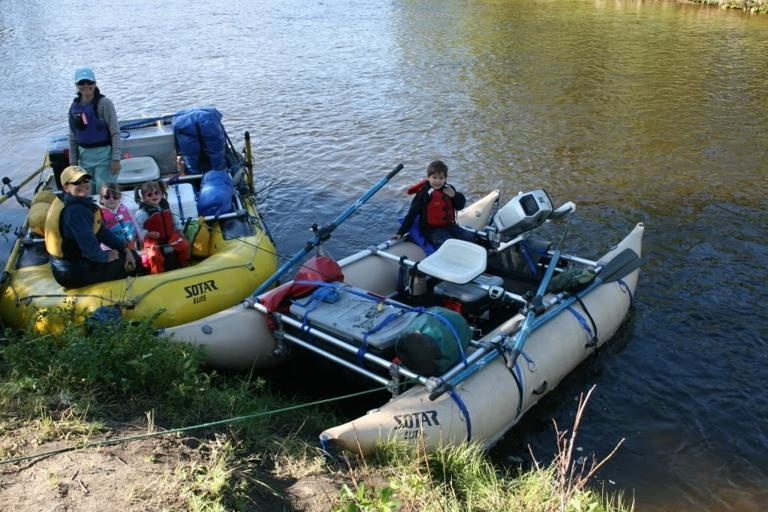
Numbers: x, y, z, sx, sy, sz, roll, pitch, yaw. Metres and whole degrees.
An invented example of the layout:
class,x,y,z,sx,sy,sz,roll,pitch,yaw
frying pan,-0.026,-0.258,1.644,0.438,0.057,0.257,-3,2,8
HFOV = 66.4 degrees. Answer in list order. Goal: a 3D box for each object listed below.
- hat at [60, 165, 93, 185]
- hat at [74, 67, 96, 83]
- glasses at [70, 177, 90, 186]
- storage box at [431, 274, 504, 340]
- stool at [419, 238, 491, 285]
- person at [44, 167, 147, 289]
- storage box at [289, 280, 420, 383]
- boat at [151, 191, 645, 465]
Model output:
class,x,y,z,sx,sy,sz,roll,pitch,yaw
hat,-3.287,-0.908,6.264,0.357,0.153,0.240,-10,8,31
hat,-3.794,-2.309,7.479,0.225,0.206,0.411,-15,29,-22
glasses,-3.170,-0.808,6.211,0.099,0.040,0.130,-19,-5,-41
storage box,1.082,0.536,6.787,0.797,0.425,0.572,-15,22,-39
stool,0.792,0.078,6.612,0.661,0.212,0.612,15,36,36
person,-3.277,-0.281,6.727,1.283,1.461,0.825,-12,46,-29
storage box,-0.236,0.598,6.159,1.325,0.277,0.769,21,41,34
boat,0.592,0.626,6.961,5.834,1.528,3.733,-16,31,-29
